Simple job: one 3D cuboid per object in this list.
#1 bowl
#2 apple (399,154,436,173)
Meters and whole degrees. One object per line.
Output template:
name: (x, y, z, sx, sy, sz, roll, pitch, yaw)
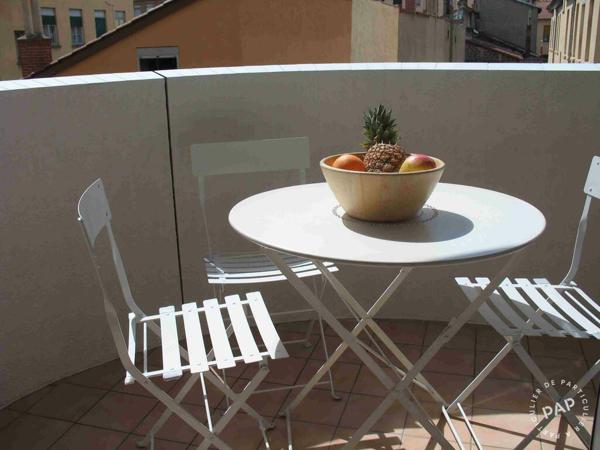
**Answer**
bowl: (0.333, -0.170, 2.086, 0.473, 0.228, 0.475, -2, 19, 1)
apple: (0.439, -0.227, 1.902, 0.099, 0.100, 0.086, -15, 3, 3)
